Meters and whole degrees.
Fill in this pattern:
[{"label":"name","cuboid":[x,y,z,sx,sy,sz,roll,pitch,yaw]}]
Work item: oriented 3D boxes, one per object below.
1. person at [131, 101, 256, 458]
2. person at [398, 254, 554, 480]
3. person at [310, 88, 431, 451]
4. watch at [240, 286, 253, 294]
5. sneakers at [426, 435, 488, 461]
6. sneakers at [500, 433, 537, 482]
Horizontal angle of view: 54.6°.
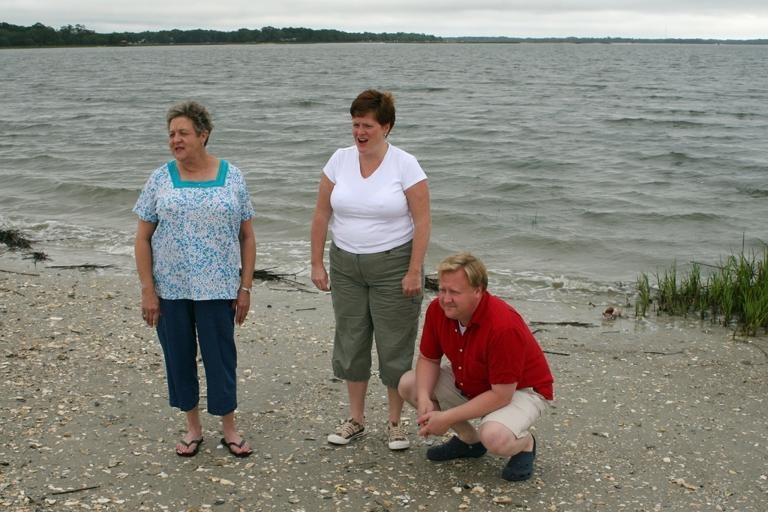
[{"label":"person","cuboid":[-1.640,0.245,6.605,1.016,3.166,0.778,-4,20,-10]},{"label":"person","cuboid":[0.851,0.972,6.495,1.203,2.003,0.581,3,19,9]},{"label":"person","cuboid":[-0.092,0.141,6.853,0.970,3.270,1.039,-10,21,-26]},{"label":"watch","cuboid":[-1.227,0.294,6.628,0.096,0.025,0.071,2,5,-2]},{"label":"sneakers","cuboid":[0.650,1.765,6.893,0.692,0.209,0.195,1,3,-3]},{"label":"sneakers","cuboid":[1.220,1.834,6.697,0.226,0.149,0.508,-1,7,24]}]
